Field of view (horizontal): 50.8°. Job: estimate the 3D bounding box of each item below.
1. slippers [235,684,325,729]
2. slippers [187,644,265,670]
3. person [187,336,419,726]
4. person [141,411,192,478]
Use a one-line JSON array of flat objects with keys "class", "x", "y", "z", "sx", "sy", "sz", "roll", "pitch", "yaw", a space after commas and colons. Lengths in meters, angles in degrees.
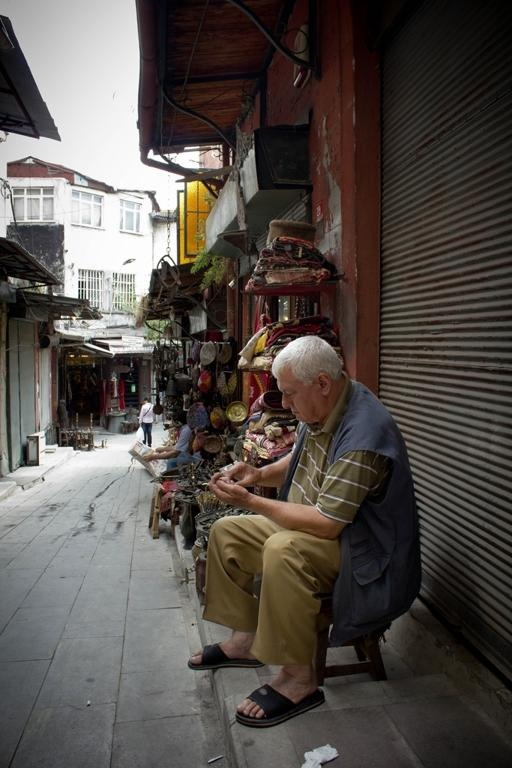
[{"class": "slippers", "x": 0.096, "y": 1.156, "z": 2.003, "sx": 0.254, "sy": 0.085, "sz": 0.128, "roll": 0, "pitch": -8, "yaw": -25}, {"class": "slippers", "x": -0.142, "y": 1.235, "z": 2.494, "sx": 0.333, "sy": 0.111, "sz": 0.128, "roll": 3, "pitch": -15, "yaw": -5}, {"class": "person", "x": 0.169, "y": 0.542, "z": 2.191, "sx": 0.844, "sy": 1.465, "sz": 0.606, "roll": -1, "pitch": -3, "yaw": 37}, {"class": "person", "x": -1.123, "y": 0.741, "z": 7.252, "sx": 0.552, "sy": 1.030, "sz": 0.609, "roll": 5, "pitch": 23, "yaw": -9}]
